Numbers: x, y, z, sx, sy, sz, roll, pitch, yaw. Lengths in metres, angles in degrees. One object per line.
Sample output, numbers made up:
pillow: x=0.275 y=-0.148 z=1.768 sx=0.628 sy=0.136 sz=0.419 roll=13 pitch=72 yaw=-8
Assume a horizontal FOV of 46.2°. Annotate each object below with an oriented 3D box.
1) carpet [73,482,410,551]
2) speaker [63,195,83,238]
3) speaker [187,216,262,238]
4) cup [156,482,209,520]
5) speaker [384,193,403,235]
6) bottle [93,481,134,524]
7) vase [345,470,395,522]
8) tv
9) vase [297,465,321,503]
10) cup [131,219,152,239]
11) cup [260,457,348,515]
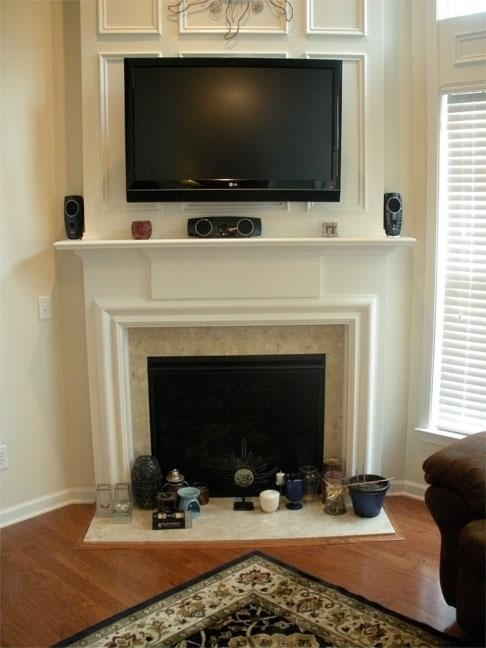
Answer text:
carpet: x=-0.008 y=0.850 z=2.478 sx=1.311 sy=0.037 sz=0.411 roll=0 pitch=8 yaw=0
speaker: x=-0.718 y=-0.461 z=2.474 sx=0.057 sy=0.186 sz=0.097 roll=5 pitch=9 yaw=35
speaker: x=-0.081 y=-0.419 z=2.468 sx=0.325 sy=0.096 sz=0.148 roll=0 pitch=8 yaw=1
cup: x=-0.274 y=0.768 z=2.555 sx=0.164 sy=0.069 sz=0.162 roll=1 pitch=-1 yaw=0
speaker: x=0.645 y=-0.470 z=2.456 sx=0.068 sy=0.184 sz=0.039 roll=0 pitch=7 yaw=2
bottle: x=-0.573 y=0.785 z=2.521 sx=0.149 sy=0.111 sz=0.147 roll=0 pitch=-2 yaw=0
vase: x=0.549 y=0.752 z=2.498 sx=0.178 sy=0.130 sz=0.178 roll=0 pitch=-4 yaw=0
tv: x=-0.071 y=-0.834 z=2.381 sx=0.630 sy=0.417 sz=0.044 roll=0 pitch=10 yaw=-2
vase: x=0.310 y=0.737 z=2.644 sx=0.137 sy=0.153 sz=0.138 roll=0 pitch=-2 yaw=4
cup: x=-0.430 y=-0.409 z=2.462 sx=0.069 sy=0.083 sz=0.094 roll=5 pitch=9 yaw=37
cup: x=0.286 y=0.742 z=2.595 sx=0.349 sy=0.243 sz=0.148 roll=-5 pitch=3 yaw=13
